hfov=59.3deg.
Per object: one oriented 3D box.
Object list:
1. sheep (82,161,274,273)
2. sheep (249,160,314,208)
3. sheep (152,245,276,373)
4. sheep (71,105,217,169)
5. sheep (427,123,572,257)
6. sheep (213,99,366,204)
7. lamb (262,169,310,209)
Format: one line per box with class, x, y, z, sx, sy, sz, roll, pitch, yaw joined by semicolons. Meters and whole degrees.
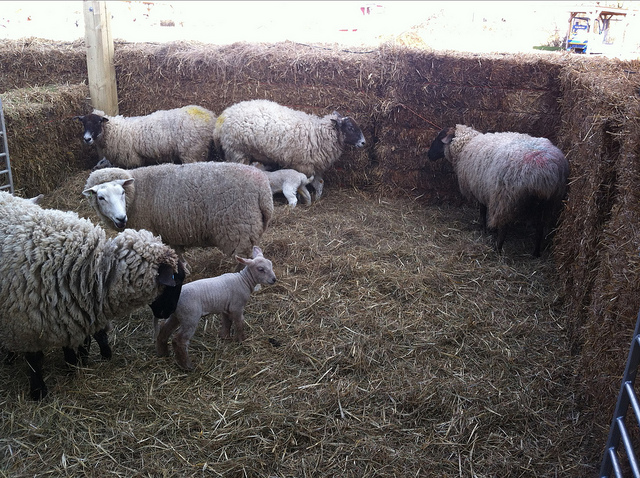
sheep;-1.401;-0.319;6.259;1.924;1.229;0.948;3;14;1
sheep;-0.645;-0.809;8.454;1.123;0.663;0.358;6;18;27
sheep;-1.012;0.715;5.375;1.584;1.154;0.469;-16;29;-35
sheep;-2.597;-1.423;8.682;2.143;1.161;0.754;2;17;7
sheep;2.271;-0.760;7.221;0.899;1.329;1.986;-13;27;-17
sheep;-0.737;-1.297;8.924;2.087;1.634;1.796;-12;28;-31
lamb;-0.460;-0.864;8.482;0.703;0.564;0.649;17;28;30
